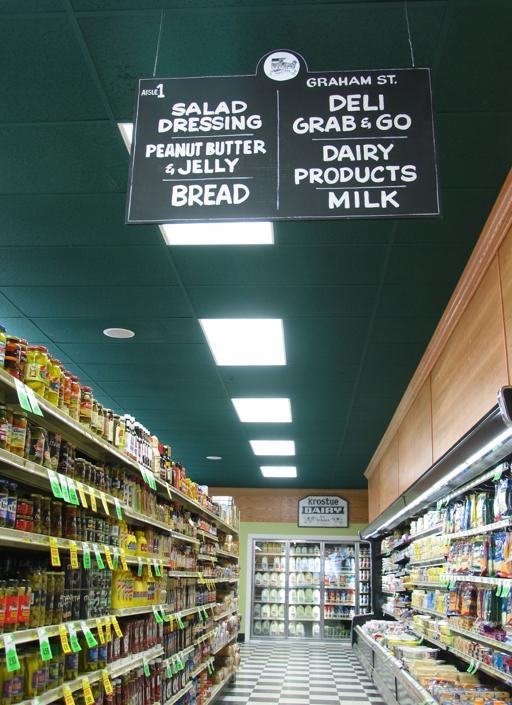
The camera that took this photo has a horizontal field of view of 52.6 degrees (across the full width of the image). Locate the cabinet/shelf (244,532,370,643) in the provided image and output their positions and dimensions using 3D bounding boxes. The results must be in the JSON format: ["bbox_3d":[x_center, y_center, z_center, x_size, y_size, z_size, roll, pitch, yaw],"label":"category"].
[{"bbox_3d":[1.353,6.128,13.306,3.281,3.100,1.114,0,-16,2],"label":"cabinet/shelf"}]

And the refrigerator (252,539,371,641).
[{"bbox_3d":[1.485,6.206,13.298,2.773,2.626,0.929,0,-15,1],"label":"refrigerator"}]
